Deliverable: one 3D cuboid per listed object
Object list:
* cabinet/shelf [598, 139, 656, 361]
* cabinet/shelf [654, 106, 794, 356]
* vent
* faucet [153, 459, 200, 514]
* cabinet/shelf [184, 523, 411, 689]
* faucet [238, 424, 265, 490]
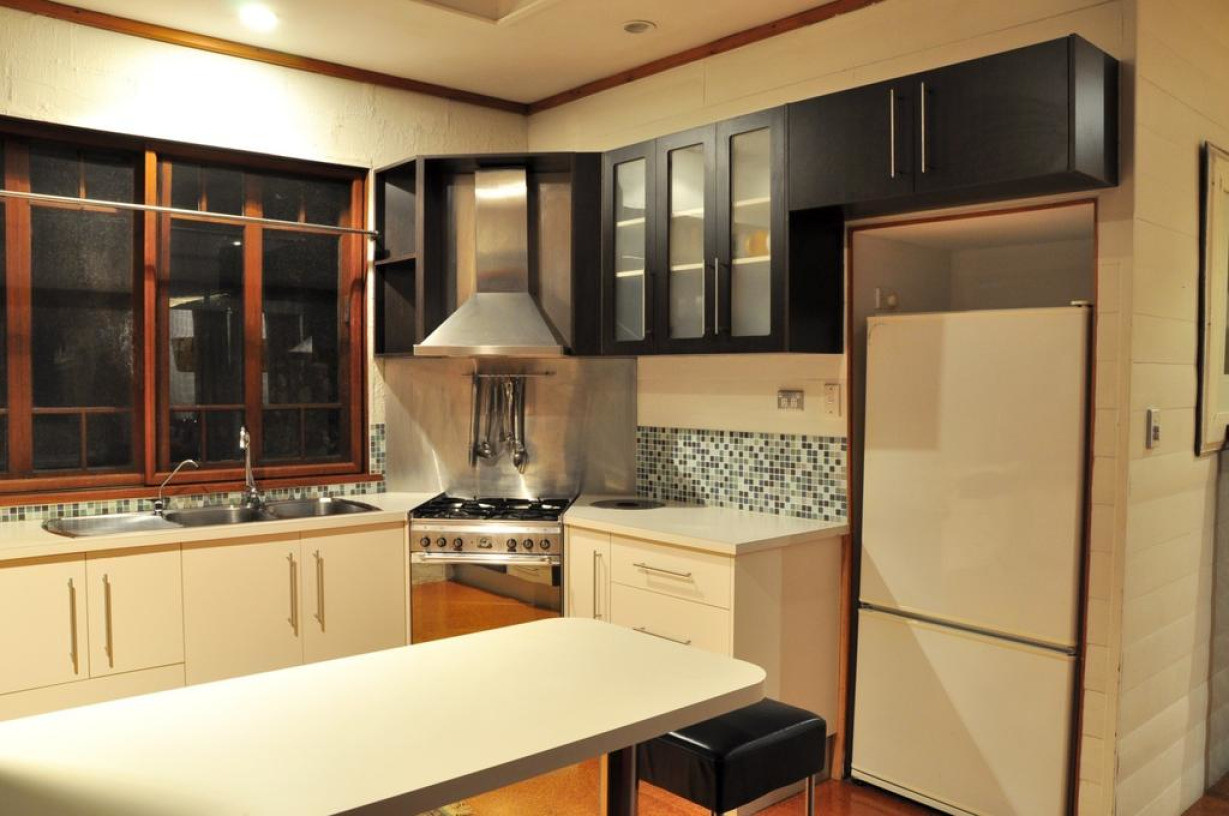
[{"bbox_3d":[0.107,-0.823,5.113,0.118,1.084,0.439,-3,5,-33],"label":"cabinet/shelf"},{"bbox_3d":[0.503,-0.840,4.729,0.870,1.136,0.221,11,18,40],"label":"cabinet/shelf"},{"bbox_3d":[-0.809,-0.795,5.730,0.978,1.254,0.969,1,1,2],"label":"vent"},{"bbox_3d":[-2.256,0.391,5.026,0.096,0.231,0.311,2,14,12],"label":"faucet"},{"bbox_3d":[-1.688,0.947,5.082,1.109,0.696,0.572,-2,4,-35],"label":"cabinet/shelf"},{"bbox_3d":[-1.940,0.267,5.176,0.077,0.340,0.279,-6,14,-21],"label":"faucet"}]
